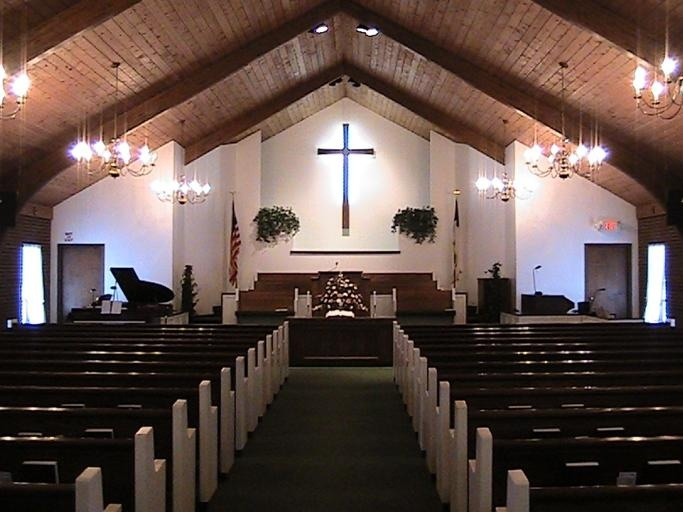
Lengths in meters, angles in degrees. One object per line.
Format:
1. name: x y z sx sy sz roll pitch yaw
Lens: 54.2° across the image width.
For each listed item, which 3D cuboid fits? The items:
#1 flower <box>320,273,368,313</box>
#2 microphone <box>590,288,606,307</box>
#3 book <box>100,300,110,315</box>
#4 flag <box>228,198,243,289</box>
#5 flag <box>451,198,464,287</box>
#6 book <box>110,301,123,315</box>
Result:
1. flower: 0.016 0.617 10.787 0.776 0.859 0.676 1 2 3
2. microphone: 5.355 0.809 13.939 0.390 0.332 0.123 -6 10 -31
3. book: -4.325 0.934 12.310 0.213 0.220 0.052 3 -13 -11
4. flag: -2.409 -0.236 15.036 0.333 1.962 0.966 -2 8 -9
5. flag: 2.667 -0.400 15.404 0.221 2.242 0.736 0 8 9
6. book: -4.124 0.928 12.238 0.177 0.211 0.229 -4 9 -20
